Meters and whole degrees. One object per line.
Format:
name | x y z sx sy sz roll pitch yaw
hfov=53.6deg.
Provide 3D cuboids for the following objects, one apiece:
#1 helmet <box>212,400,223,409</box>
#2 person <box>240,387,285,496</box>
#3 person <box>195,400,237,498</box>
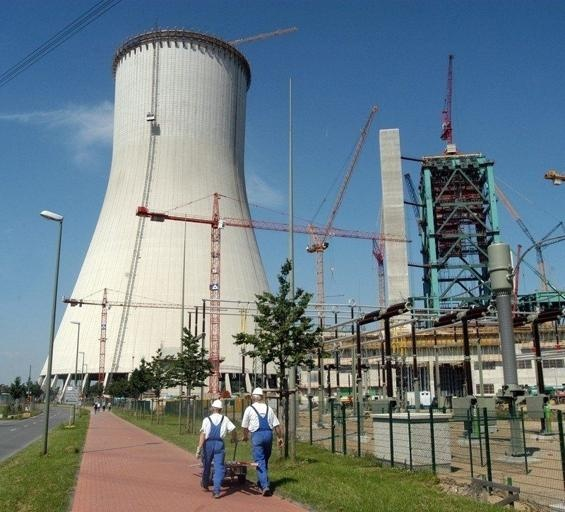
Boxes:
helmet | -1.294 2.912 11.062 0.176 0.138 0.246 6 -23 9
person | -0.447 3.672 11.236 0.681 2.040 0.957 0 -15 3
person | -1.315 3.693 10.902 0.700 1.774 1.128 3 -15 -8
